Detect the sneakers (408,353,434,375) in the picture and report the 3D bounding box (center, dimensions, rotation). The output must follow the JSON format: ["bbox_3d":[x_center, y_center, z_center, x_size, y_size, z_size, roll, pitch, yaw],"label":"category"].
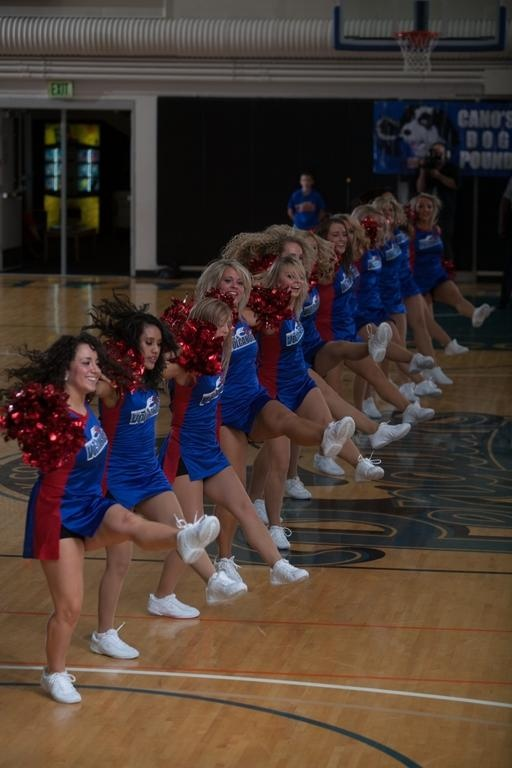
[{"bbox_3d":[1.608,-0.215,6.037,0.111,0.153,0.334,-50,10,-20],"label":"sneakers"}]

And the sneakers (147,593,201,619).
[{"bbox_3d":[-0.362,0.957,2.664,0.232,0.092,0.088,5,3,6],"label":"sneakers"}]

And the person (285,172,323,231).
[{"bbox_3d":[1.128,-4.200,14.168,0.800,1.347,0.418,0,-3,4],"label":"person"}]

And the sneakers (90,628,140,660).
[{"bbox_3d":[-0.527,0.937,2.263,0.173,0.079,0.083,7,6,19],"label":"sneakers"}]

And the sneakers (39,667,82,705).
[{"bbox_3d":[-0.595,0.897,1.866,0.141,0.053,0.067,14,13,40],"label":"sneakers"}]

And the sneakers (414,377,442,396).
[{"bbox_3d":[1.768,0.021,6.508,0.342,0.240,0.131,1,17,12],"label":"sneakers"}]

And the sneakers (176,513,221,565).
[{"bbox_3d":[-0.166,0.422,1.673,0.102,0.142,0.204,1,-3,-11],"label":"sneakers"}]

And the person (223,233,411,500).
[{"bbox_3d":[0.189,-0.329,3.897,1.060,1.265,1.706,-8,24,-14],"label":"person"}]

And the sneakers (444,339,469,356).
[{"bbox_3d":[2.429,-0.437,7.684,0.390,0.250,0.228,-3,11,15],"label":"sneakers"}]

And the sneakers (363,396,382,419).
[{"bbox_3d":[1.197,0.266,6.418,0.156,0.129,0.247,-21,50,-12],"label":"sneakers"}]

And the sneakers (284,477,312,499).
[{"bbox_3d":[0.284,0.755,4.482,0.100,0.094,0.247,-3,7,-43],"label":"sneakers"}]

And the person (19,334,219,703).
[{"bbox_3d":[-0.498,0.397,1.793,0.712,1.124,0.392,-3,-4,39],"label":"person"}]

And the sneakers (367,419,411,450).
[{"bbox_3d":[1.049,0.409,4.874,0.383,0.170,0.135,-23,34,14],"label":"sneakers"}]

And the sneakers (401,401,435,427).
[{"bbox_3d":[1.509,0.287,5.798,0.293,0.214,0.102,-18,27,19],"label":"sneakers"}]

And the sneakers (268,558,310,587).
[{"bbox_3d":[0.122,0.762,2.502,0.129,0.112,0.183,0,-3,-5],"label":"sneakers"}]
